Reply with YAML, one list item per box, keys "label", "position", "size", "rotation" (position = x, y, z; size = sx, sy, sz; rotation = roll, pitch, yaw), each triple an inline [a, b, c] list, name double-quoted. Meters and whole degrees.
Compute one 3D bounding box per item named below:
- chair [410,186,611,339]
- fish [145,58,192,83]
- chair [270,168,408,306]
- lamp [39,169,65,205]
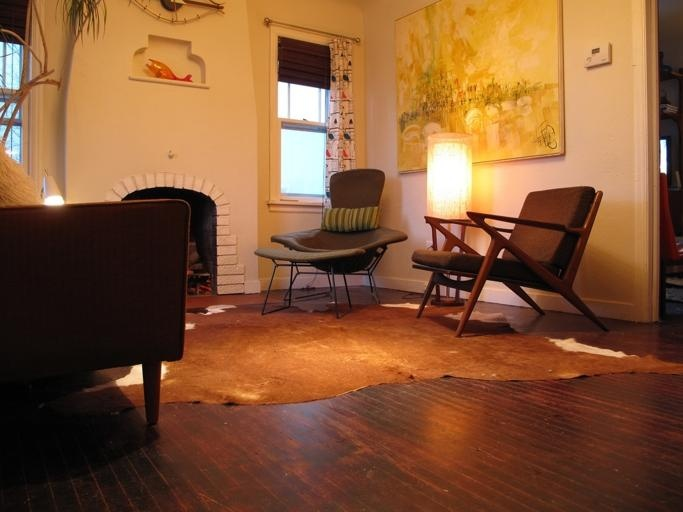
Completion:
- label: "chair"
  position: [1.052, -0.003, 3.390]
  size: [1.053, 0.899, 0.897]
  rotation: [1, 2, -17]
- label: "fish"
  position: [-1.548, -1.668, 4.653]
  size: [0.408, 0.217, 0.224]
  rotation: [-3, 10, -21]
- label: "chair"
  position: [-0.055, -0.201, 4.328]
  size: [1.159, 1.256, 1.022]
  rotation: [1, -1, 28]
- label: "lamp"
  position: [-1.750, -0.428, 3.077]
  size: [0.087, 0.179, 0.078]
  rotation: [3, 25, 31]
